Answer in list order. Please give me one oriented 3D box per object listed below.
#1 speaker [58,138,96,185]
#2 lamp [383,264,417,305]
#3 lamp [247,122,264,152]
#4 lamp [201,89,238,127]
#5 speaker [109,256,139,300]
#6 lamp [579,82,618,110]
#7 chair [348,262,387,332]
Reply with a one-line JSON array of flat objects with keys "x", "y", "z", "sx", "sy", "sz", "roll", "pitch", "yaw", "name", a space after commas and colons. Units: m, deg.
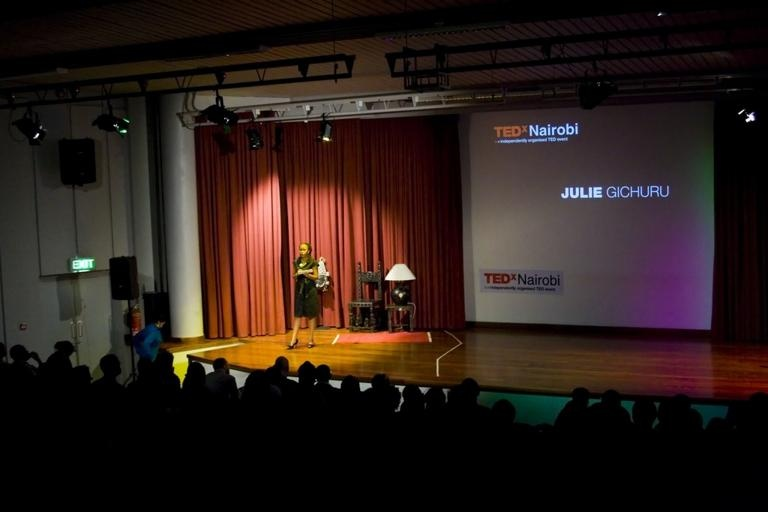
[{"x": -5.510, "y": -1.656, "z": 10.785, "sx": 0.568, "sy": 0.792, "sz": 0.201, "roll": -4, "pitch": 6, "yaw": -23, "name": "speaker"}, {"x": 0.375, "y": 0.548, "z": 11.660, "sx": 0.666, "sy": 0.806, "sz": 0.716, "roll": -2, "pitch": 5, "yaw": -9, "name": "lamp"}, {"x": -2.471, "y": -2.291, "z": 11.512, "sx": 0.327, "sy": 0.554, "sz": 0.814, "roll": -3, "pitch": 6, "yaw": -12, "name": "lamp"}, {"x": -2.508, "y": -2.275, "z": 9.181, "sx": 0.441, "sy": 0.511, "sz": 0.882, "roll": -3, "pitch": 6, "yaw": -8, "name": "lamp"}, {"x": -4.320, "y": 0.386, "z": 10.014, "sx": 0.394, "sy": 0.716, "sz": 0.273, "roll": -5, "pitch": 6, "yaw": -27, "name": "speaker"}, {"x": 3.086, "y": -2.309, "z": 8.699, "sx": 0.572, "sy": 0.304, "sz": 0.793, "roll": 1, "pitch": -3, "yaw": 18, "name": "lamp"}, {"x": -0.357, "y": 0.846, "z": 11.744, "sx": 0.634, "sy": 1.238, "sz": 0.664, "roll": -1, "pitch": 1, "yaw": 31, "name": "chair"}]
